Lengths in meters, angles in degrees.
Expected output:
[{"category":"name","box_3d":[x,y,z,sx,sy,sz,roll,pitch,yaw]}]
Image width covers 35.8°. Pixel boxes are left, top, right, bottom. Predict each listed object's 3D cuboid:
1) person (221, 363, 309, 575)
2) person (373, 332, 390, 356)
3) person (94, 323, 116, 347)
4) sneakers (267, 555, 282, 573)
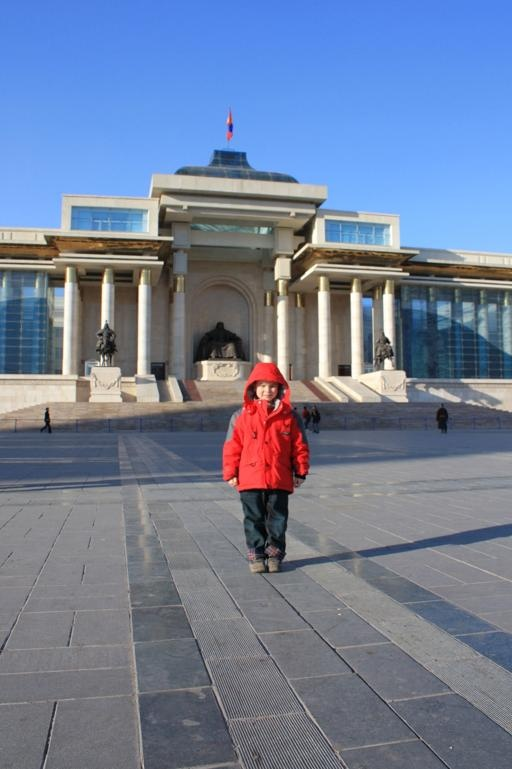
[{"category":"person","box_3d":[0.048,0.473,4.766,0.511,0.853,0.472,-1,0,10]},{"category":"person","box_3d":[6.351,-1.896,39.325,0.663,0.975,1.392,-1,0,4]},{"category":"person","box_3d":[-6.819,-2.126,36.044,0.731,1.508,1.702,-1,0,-10]},{"category":"sneakers","box_3d":[0.110,1.043,4.615,0.083,0.061,0.137,-1,0,3]}]
